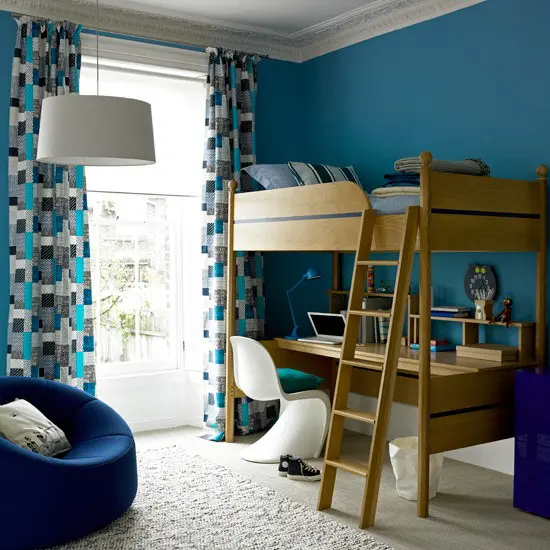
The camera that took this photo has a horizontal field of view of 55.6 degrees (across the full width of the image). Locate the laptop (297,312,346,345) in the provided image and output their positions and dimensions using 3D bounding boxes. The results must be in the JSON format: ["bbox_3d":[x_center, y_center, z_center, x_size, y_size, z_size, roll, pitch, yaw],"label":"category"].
[{"bbox_3d":[0.385,0.388,3.807,0.202,0.184,0.278,-1,1,-43],"label":"laptop"}]

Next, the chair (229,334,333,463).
[{"bbox_3d":[0.060,0.807,3.515,0.535,0.773,0.471,3,-2,-22],"label":"chair"}]

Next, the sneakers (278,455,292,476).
[{"bbox_3d":[0.057,1.128,3.069,0.047,0.062,0.147,0,-2,8],"label":"sneakers"}]

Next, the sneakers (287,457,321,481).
[{"bbox_3d":[0.161,1.136,3.052,0.208,0.120,0.089,1,-1,2],"label":"sneakers"}]

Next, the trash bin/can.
[{"bbox_3d":[0.770,1.035,2.780,0.293,0.292,0.308,-1,-9,-6],"label":"trash bin/can"}]

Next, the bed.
[{"bbox_3d":[0.579,0.011,3.643,1.613,2.359,2.062,0,-1,-33],"label":"bed"}]
